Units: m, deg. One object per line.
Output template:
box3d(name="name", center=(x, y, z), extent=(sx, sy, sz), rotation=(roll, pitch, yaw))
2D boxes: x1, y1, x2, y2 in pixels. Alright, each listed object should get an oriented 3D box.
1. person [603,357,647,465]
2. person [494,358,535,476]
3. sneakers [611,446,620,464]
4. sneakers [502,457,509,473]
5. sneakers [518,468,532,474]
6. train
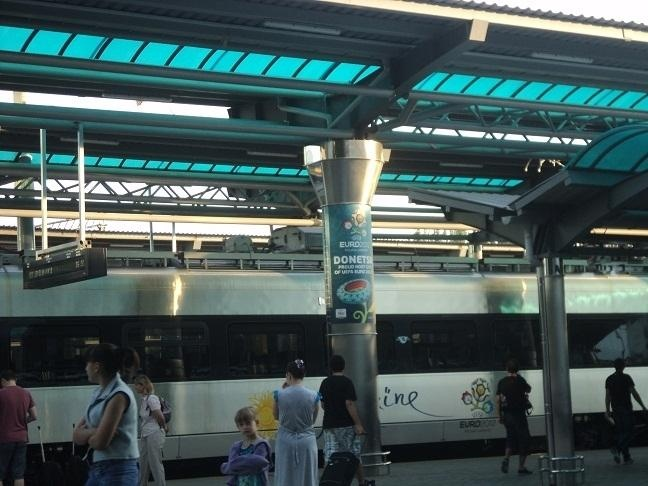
box3d(name="person", center=(5.900, 3.275, 18.082), extent=(0.747, 2.002, 1.185), rotation=(-6, -12, 15))
box3d(name="person", center=(3.643, 3.281, 17.576), extent=(0.662, 2.112, 0.580), rotation=(-2, -13, 0))
box3d(name="sneakers", center=(5.688, 4.122, 18.035), extent=(0.169, 0.344, 0.157), rotation=(0, 9, 38))
box3d(name="sneakers", center=(3.424, 4.167, 17.359), extent=(0.155, 0.269, 0.141), rotation=(1, 5, 12))
box3d(name="sneakers", center=(3.750, 4.223, 17.174), extent=(0.156, 0.110, 0.282), rotation=(-12, -14, 43))
box3d(name="train", center=(-1.255, 2.419, 19.302), extent=(16.579, 3.216, 3.996), rotation=(-1, 0, -21))
